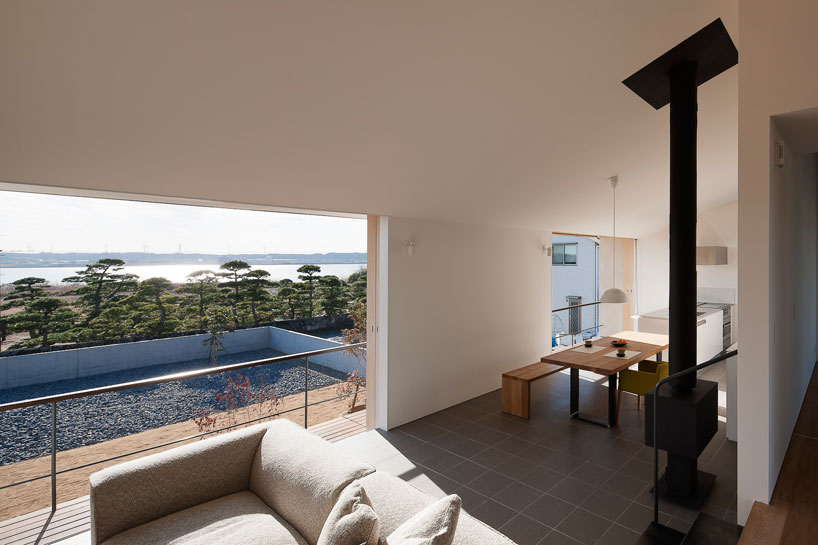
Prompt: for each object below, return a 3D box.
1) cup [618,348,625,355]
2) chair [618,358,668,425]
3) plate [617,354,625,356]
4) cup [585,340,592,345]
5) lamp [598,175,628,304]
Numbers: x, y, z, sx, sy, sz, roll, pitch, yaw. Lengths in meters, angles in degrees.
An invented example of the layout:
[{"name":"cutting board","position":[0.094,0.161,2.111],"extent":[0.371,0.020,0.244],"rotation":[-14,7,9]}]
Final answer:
[{"name":"cup","position":[2.883,1.069,6.568],"extent":[0.084,0.068,0.070],"rotation":[-3,4,-15]},{"name":"chair","position":[3.059,1.526,6.341],"extent":[0.532,0.896,0.940],"rotation":[8,15,35]},{"name":"plate","position":[2.832,1.095,6.460],"extent":[0.102,0.020,0.099],"rotation":[2,11,11]},{"name":"cup","position":[2.596,1.020,7.007],"extent":[0.091,0.079,0.088],"rotation":[-1,1,0]},{"name":"lamp","position":[3.013,-0.436,7.133],"extent":[0.413,1.844,0.416],"rotation":[3,15,33]}]
